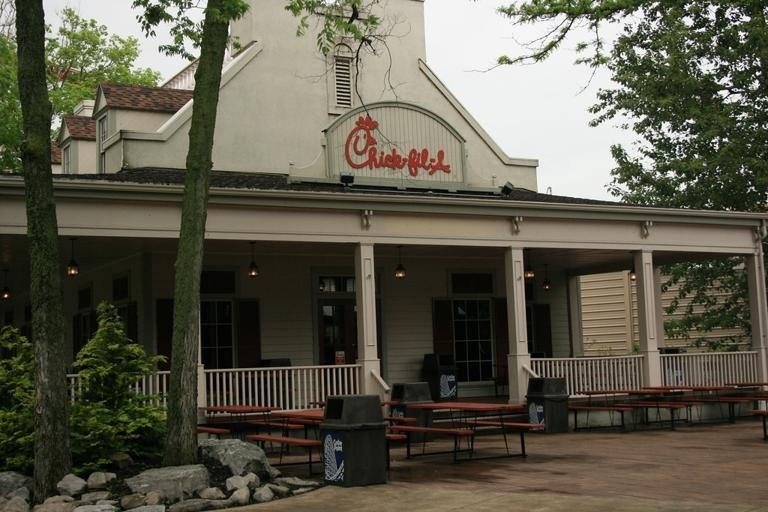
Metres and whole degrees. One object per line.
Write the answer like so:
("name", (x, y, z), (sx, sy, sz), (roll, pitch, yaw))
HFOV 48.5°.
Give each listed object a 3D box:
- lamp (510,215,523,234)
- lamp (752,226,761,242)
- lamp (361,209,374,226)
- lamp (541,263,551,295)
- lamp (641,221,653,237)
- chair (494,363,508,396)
("lamp", (3.351, -0.773, 21.147), (0.346, 0.443, 0.232), (-1, -9, -13))
("lamp", (10.439, -0.628, 23.743), (0.195, 0.366, 0.213), (6, -12, -44))
("lamp", (-0.375, -0.869, 19.821), (0.315, 0.425, 0.235), (0, -9, -16))
("lamp", (4.855, 0.618, 25.530), (0.257, 0.741, 1.281), (-4, -9, 11))
("lamp", (6.899, -0.720, 22.388), (0.276, 0.431, 0.219), (-3, -8, 1))
("chair", (3.349, 3.523, 24.397), (0.394, 0.897, 0.379), (-2, -8, -3))
